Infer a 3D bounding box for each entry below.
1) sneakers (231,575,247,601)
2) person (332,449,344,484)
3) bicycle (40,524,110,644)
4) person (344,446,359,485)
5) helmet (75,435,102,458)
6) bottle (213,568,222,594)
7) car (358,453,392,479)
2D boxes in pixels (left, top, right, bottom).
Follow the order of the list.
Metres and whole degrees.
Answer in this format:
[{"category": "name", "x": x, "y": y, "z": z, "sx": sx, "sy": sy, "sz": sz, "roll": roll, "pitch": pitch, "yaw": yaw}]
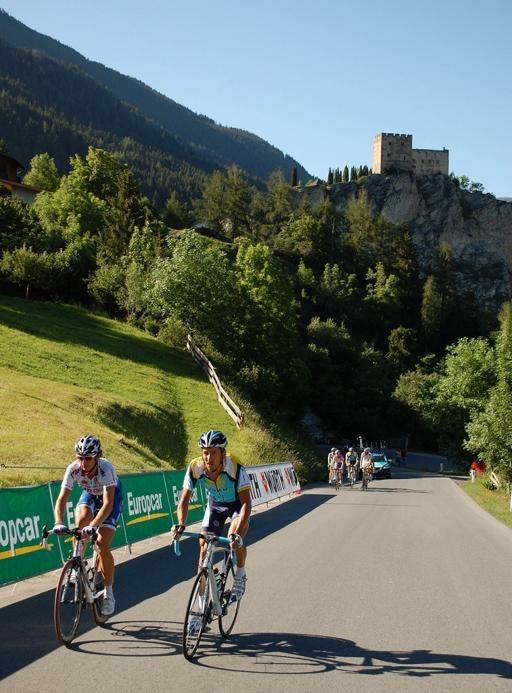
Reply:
[{"category": "sneakers", "x": -0.143, "y": 2.169, "z": 6.194, "sx": 0.081, "sy": 0.131, "sz": 0.278, "roll": -1, "pitch": 9, "yaw": 11}, {"category": "person", "x": 3.313, "y": 5.113, "z": 28.118, "sx": 0.443, "sy": 1.205, "sz": 1.982, "roll": 8, "pitch": 4, "yaw": 7}, {"category": "bicycle", "x": -1.515, "y": 2.090, "z": 5.949, "sx": 0.374, "sy": 0.691, "sz": 0.958, "roll": 8, "pitch": 4, "yaw": 2}, {"category": "person", "x": 4.288, "y": 5.280, "z": 30.593, "sx": 0.866, "sy": 1.319, "sz": 1.975, "roll": -1, "pitch": -13, "yaw": 6}, {"category": "helmet", "x": -1.521, "y": 0.902, "z": 6.302, "sx": 0.168, "sy": 0.199, "sz": 0.264, "roll": 5, "pitch": 27, "yaw": 4}, {"category": "bottle", "x": -0.318, "y": 2.034, "z": 5.945, "sx": 0.049, "sy": 0.219, "sz": 0.069, "roll": 1, "pitch": 3, "yaw": -16}, {"category": "car", "x": 6.763, "y": 6.341, "z": 37.483, "sx": 1.362, "sy": 1.410, "sz": 3.358, "roll": -2, "pitch": -12, "yaw": 9}]
